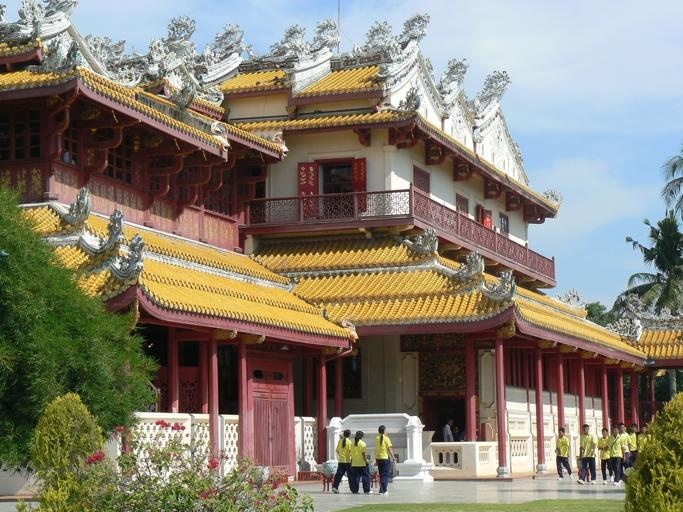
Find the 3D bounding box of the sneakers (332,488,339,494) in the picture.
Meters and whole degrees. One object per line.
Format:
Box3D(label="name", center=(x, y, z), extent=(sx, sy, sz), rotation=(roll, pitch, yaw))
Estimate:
Box3D(label="sneakers", center=(-0.152, 5.282, 29.313), extent=(0.114, 0.110, 0.127), rotation=(5, -26, -8))
